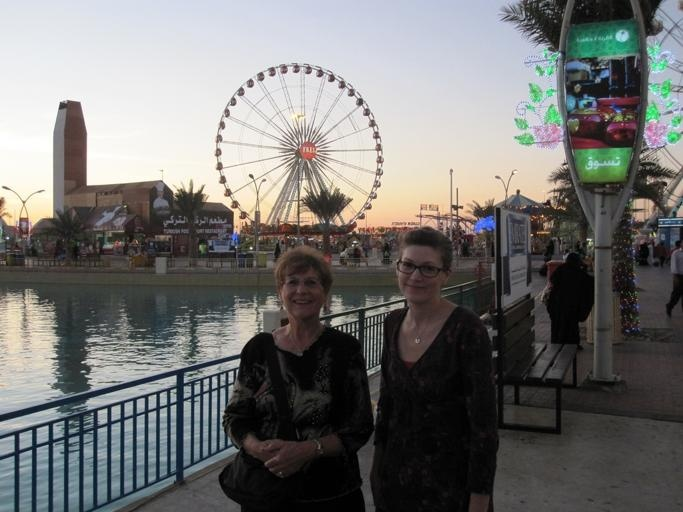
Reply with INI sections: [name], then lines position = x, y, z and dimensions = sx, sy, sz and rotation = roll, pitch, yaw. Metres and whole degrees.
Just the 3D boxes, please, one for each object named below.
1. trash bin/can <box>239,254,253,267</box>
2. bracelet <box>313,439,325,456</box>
[trash bin/can]
position = -6.779, 0.691, 41.438
dimensions = 0.803, 1.468, 1.440
rotation = -1, 3, -4
[bracelet]
position = -0.126, 1.041, 3.218
dimensions = 0.051, 0.083, 0.084
rotation = -4, -4, -11
